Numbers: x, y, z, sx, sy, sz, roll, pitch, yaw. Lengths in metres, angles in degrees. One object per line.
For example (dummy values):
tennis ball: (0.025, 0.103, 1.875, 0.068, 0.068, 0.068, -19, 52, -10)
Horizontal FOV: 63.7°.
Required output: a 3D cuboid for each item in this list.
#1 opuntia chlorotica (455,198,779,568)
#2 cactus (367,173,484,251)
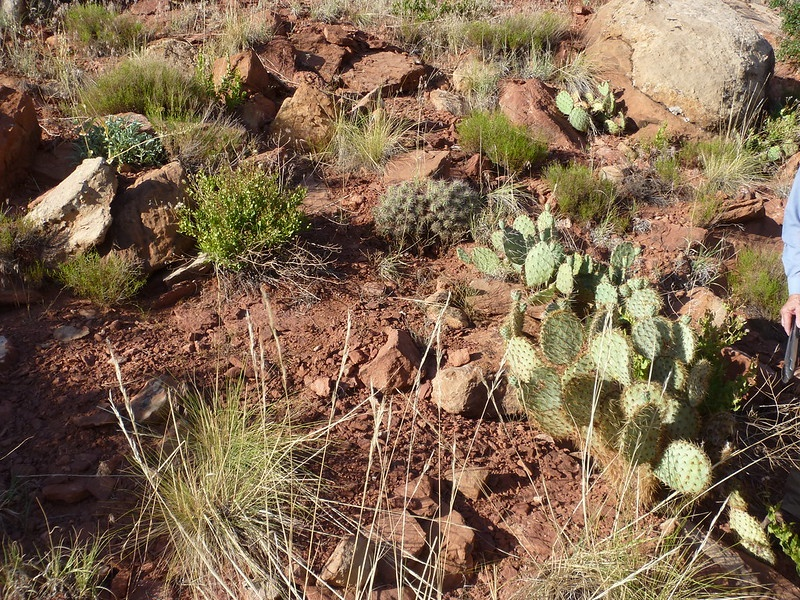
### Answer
opuntia chlorotica: (1.304, 0.391, 4.847, 2.361, 1.372, 1.514, 38, 18, 20)
cactus: (0.264, -0.850, 6.159, 0.654, 0.544, 0.819, 22, 41, 31)
